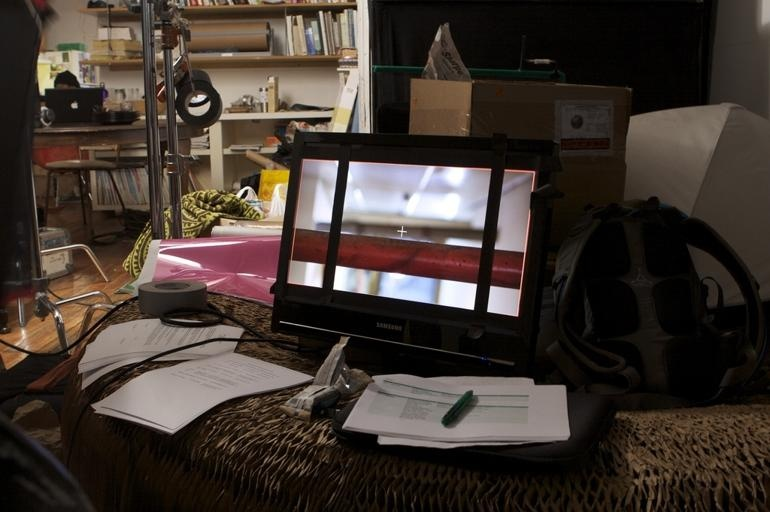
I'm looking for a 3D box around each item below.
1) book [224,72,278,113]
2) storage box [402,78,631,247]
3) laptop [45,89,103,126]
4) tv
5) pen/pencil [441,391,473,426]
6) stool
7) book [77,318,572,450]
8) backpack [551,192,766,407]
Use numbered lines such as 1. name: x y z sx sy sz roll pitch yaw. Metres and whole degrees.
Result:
1. book: -1.217 -1.564 5.379 0.538 0.417 0.368 -1 14 -3
2. storage box: 0.403 -0.244 1.710 0.483 0.369 0.473 3 10 1
3. laptop: -2.226 -1.085 4.105 0.383 0.238 0.143 1 17 5
4. tv: 0.064 0.003 1.158 0.469 0.422 0.110 7 -10 16
5. pen/pencil: 0.124 0.257 0.953 0.023 0.023 0.100 45 33 12
6. stool: -2.804 -0.593 5.385 0.575 0.680 0.602 -4 15 -16
7. book: -0.104 0.241 1.052 0.843 0.049 0.310 2 17 8
8. backpack: 0.555 0.059 1.325 0.412 0.408 0.364 2 12 3
